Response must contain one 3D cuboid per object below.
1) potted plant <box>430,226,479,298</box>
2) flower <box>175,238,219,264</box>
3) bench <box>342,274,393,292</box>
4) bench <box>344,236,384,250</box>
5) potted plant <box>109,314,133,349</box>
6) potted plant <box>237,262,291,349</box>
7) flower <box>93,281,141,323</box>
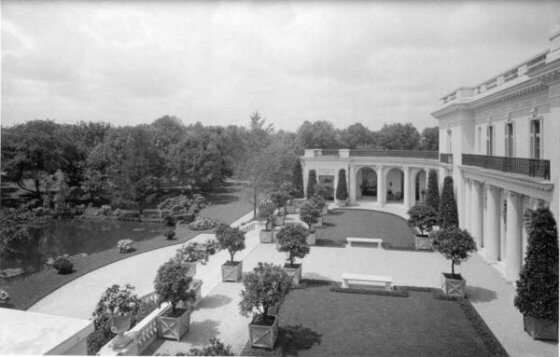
[{"bbox_3d":[9.505,4.601,20.559,2.022,3.745,1.363,4,13,28],"label":"potted plant"},{"bbox_3d":[-4.598,4.493,21.093,1.772,1.104,1.652,0,8,14],"label":"flower"},{"bbox_3d":[4.980,6.252,21.934,2.600,0.605,0.832,0,36,11],"label":"bench"},{"bbox_3d":[6.445,4.797,28.731,2.731,0.662,1.613,1,11,12],"label":"bench"},{"bbox_3d":[-6.735,6.623,16.093,1.014,1.232,0.983,-3,-11,12],"label":"potted plant"},{"bbox_3d":[-0.674,5.851,17.564,1.933,3.707,2.356,6,13,34],"label":"potted plant"},{"bbox_3d":[-6.460,5.418,16.192,1.230,1.496,1.152,9,-4,-16],"label":"flower"}]
